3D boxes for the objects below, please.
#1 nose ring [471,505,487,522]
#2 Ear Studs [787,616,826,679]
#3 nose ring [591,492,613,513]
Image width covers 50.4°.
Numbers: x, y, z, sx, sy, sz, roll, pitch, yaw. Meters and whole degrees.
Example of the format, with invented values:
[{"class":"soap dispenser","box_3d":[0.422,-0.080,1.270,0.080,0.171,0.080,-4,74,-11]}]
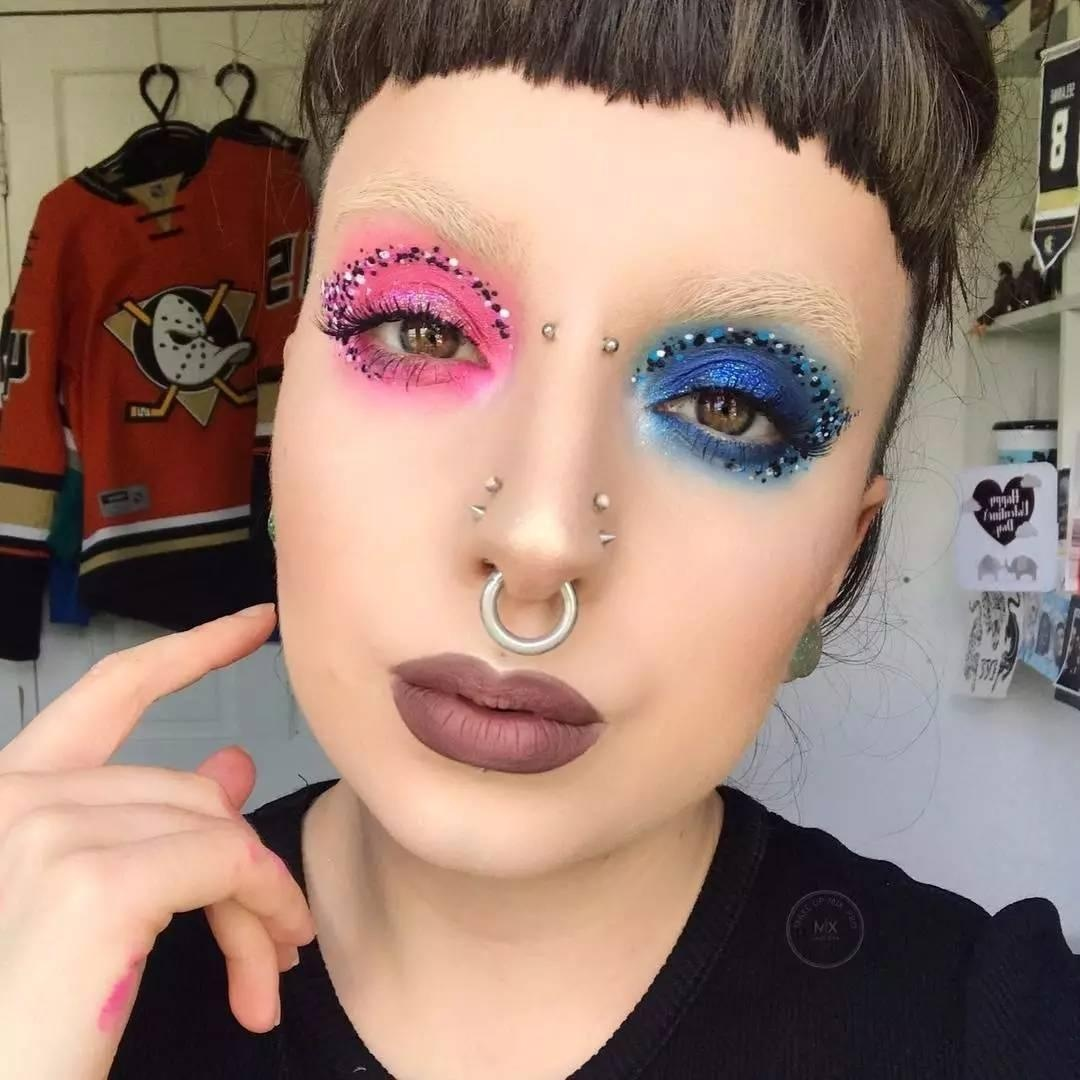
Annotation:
[{"class":"nose ring","box_3d":[-0.058,-0.027,1.064,0.012,0.014,0.013,-3,70,11]},{"class":"Ear Studs","box_3d":[0.294,0.125,1.342,0.017,0.077,0.056,28,15,40]},{"class":"nose ring","box_3d":[0.055,-0.035,1.066,0.016,0.018,0.004,-7,3,-32]}]
